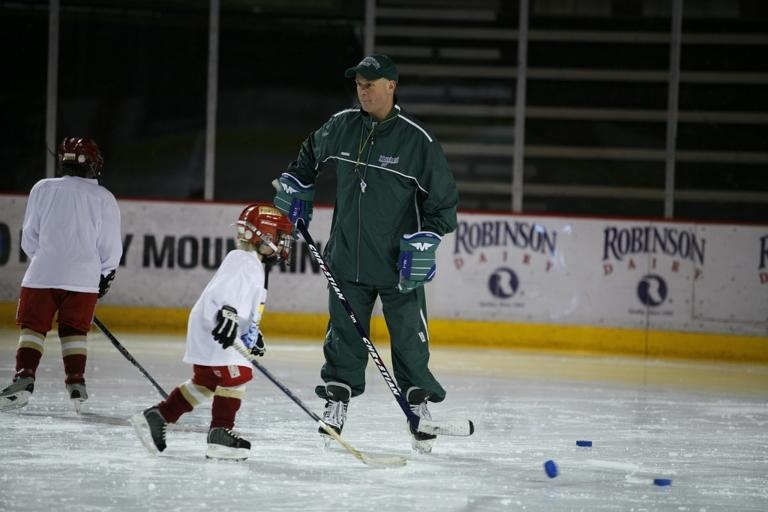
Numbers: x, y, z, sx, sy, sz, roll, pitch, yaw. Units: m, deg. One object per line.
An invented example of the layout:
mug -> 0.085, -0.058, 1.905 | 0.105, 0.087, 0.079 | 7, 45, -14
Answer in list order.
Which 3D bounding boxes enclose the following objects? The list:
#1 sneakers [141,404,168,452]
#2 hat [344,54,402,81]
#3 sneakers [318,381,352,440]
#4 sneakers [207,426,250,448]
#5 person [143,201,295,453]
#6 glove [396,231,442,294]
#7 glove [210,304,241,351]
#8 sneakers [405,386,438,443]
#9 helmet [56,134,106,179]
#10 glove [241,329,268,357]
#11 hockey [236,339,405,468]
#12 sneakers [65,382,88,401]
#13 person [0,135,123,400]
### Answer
sneakers -> -1.432, 1.094, 7.475 | 0.136, 0.326, 0.108 | -15, 4, -2
hat -> -0.036, -1.296, 7.819 | 0.278, 0.146, 0.196 | 4, -1, -33
sneakers -> -0.320, 1.016, 7.848 | 0.140, 0.446, 0.198 | 9, -8, -4
sneakers -> -0.989, 1.165, 7.519 | 0.324, 0.153, 0.112 | 3, -5, -2
person -> -1.079, 0.465, 7.558 | 0.939, 1.600, 0.527 | 1, 9, -6
glove -> 0.228, 0.026, 7.720 | 0.271, 0.396, 0.164 | 0, 13, -16
glove -> -0.988, 0.445, 7.319 | 0.154, 0.262, 0.080 | 7, -10, 1
sneakers -> 0.303, 1.062, 7.801 | 0.142, 0.440, 0.280 | -7, -3, -3
helmet -> -2.189, -0.730, 8.534 | 0.248, 0.321, 0.322 | 4, -3, 6
glove -> -0.836, 0.570, 7.663 | 0.134, 0.182, 0.063 | 1, 0, -38
hockey -> -0.428, 1.054, 8.092 | 1.201, 0.163, 0.166 | 39, 11, 27
sneakers -> -2.142, 0.951, 8.203 | 0.135, 0.138, 0.145 | -1, 10, -18
person -> -2.256, 0.246, 8.265 | 0.789, 1.584, 0.520 | 0, 9, -13
